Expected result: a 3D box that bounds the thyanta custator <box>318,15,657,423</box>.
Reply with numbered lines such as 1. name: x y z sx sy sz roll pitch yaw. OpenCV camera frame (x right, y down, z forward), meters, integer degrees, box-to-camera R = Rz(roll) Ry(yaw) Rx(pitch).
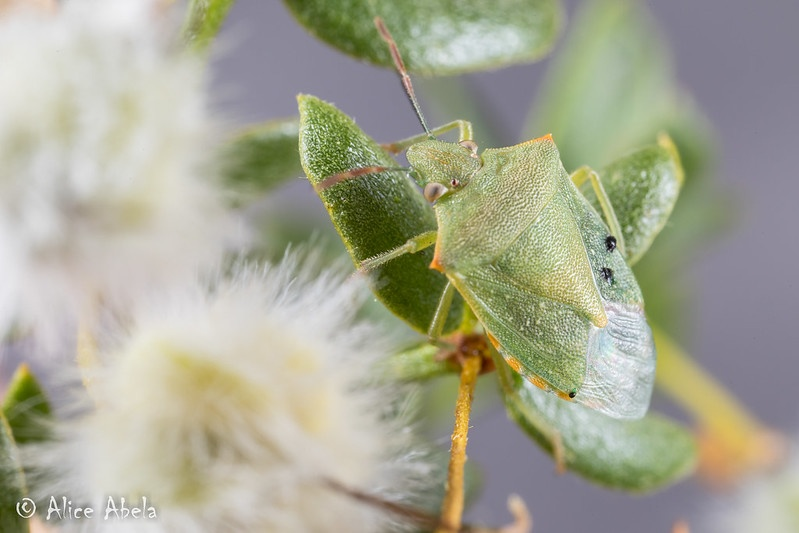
1. thyanta custator: 0.191 0.013 1.320 0.273 0.229 0.484 -35 63 -15
